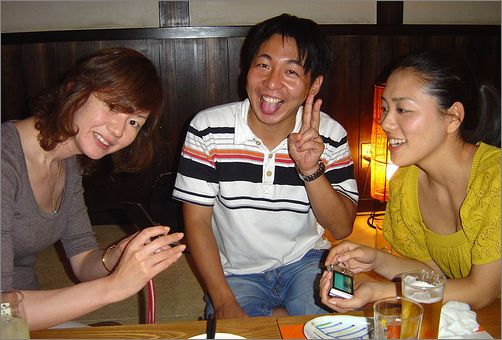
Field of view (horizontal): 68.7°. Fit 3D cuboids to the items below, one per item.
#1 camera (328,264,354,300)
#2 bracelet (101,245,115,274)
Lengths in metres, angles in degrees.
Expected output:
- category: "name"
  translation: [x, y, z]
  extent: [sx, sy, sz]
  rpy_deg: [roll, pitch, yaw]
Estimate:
- category: "camera"
  translation: [0.382, 0.452, 1.511]
  extent: [0.087, 0.114, 0.029]
  rpy_deg: [10, 17, 31]
- category: "bracelet"
  translation: [-0.712, 0.448, 1.835]
  extent: [0.124, 0.115, 0.032]
  rpy_deg: [-15, -8, 25]
